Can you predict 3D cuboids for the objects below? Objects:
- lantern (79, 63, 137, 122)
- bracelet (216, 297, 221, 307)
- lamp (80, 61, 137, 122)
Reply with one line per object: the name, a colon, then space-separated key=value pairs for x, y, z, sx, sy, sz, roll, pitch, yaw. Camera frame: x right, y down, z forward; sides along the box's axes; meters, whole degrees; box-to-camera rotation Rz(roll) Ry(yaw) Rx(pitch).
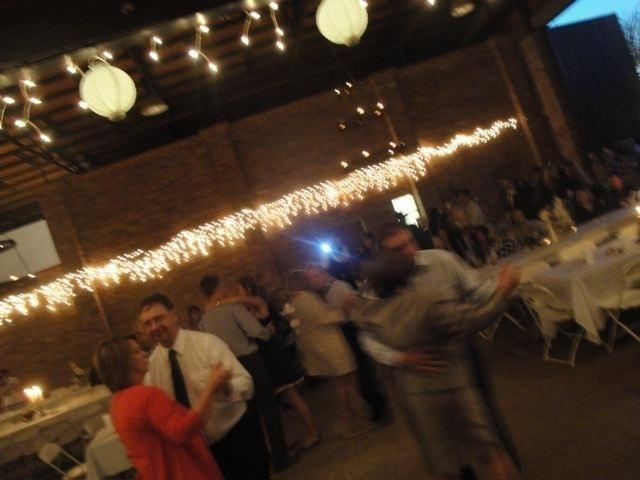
lantern: x=-1.925 y=-1.347 z=4.524 sx=0.465 sy=0.537 sz=0.215 roll=-20 pitch=-1 yaw=-17
bracelet: x=-1.125 y=0.689 z=5.580 sx=0.014 sy=0.050 sz=0.050 roll=26 pitch=12 yaw=-35
lamp: x=-1.950 y=-1.365 z=4.602 sx=0.456 sy=0.511 sz=0.439 roll=-19 pitch=13 yaw=-13
